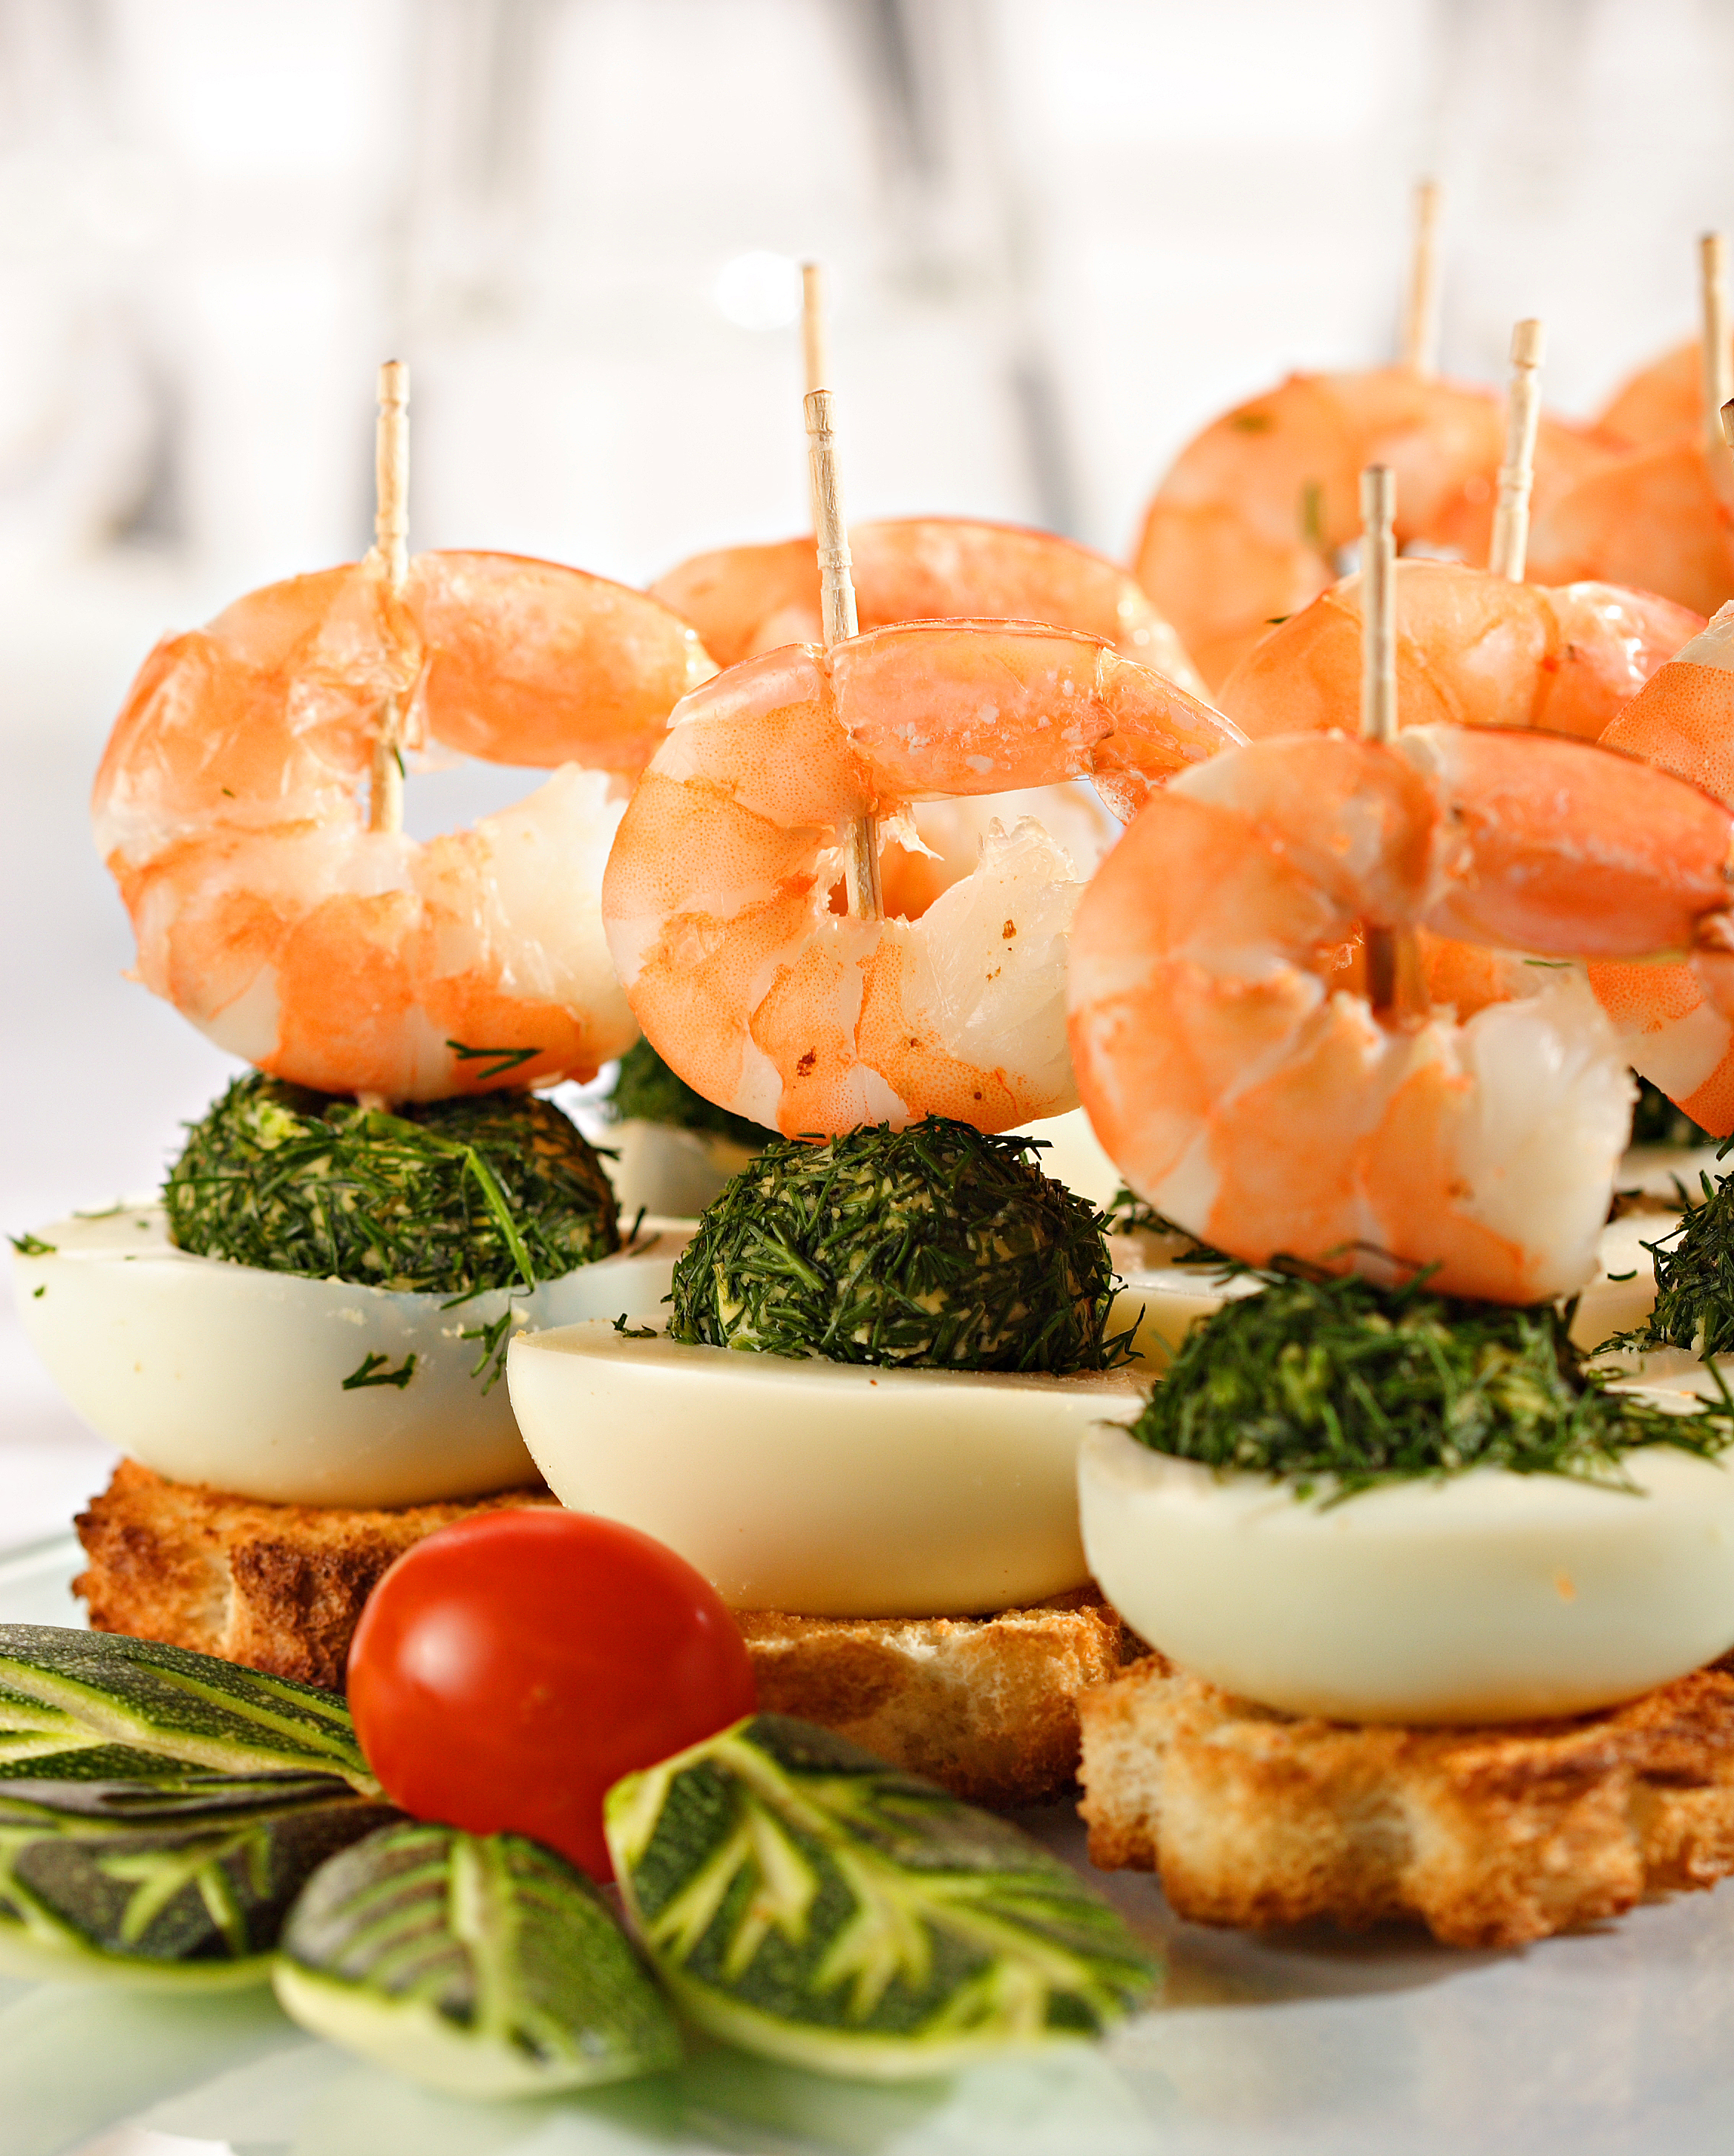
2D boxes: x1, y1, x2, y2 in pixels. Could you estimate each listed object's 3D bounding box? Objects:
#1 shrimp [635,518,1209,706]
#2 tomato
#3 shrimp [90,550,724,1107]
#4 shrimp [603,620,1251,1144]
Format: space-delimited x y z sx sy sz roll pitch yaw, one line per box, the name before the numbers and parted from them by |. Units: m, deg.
shrimp | 0.038 -0.270 1.369 0.344 0.078 0.154 5 25 12
tomato | -0.132 0.254 1.048 0.209 0.142 0.164 1 1 7
shrimp | -0.270 -0.147 1.400 0.383 0.320 0.141 -31 2 3
shrimp | 0.002 -0.105 1.151 0.337 0.209 0.111 -1 12 23
